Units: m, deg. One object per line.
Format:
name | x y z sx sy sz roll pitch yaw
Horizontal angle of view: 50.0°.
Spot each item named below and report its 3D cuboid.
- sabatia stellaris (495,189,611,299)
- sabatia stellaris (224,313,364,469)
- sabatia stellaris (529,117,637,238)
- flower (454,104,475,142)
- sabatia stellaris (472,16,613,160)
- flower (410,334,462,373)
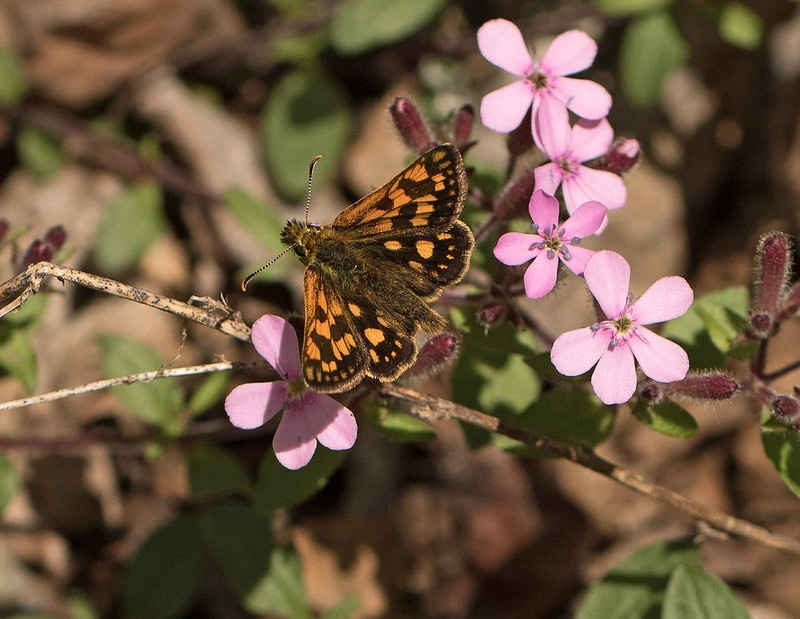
sabatia stellaris | 0.854 -0.372 4.696 0.606 0.258 0.613 0 99 3
sabatia stellaris | -0.664 0.500 4.740 0.550 0.255 0.845 -35 85 -3
sabatia stellaris | 1.052 -0.833 5.056 0.694 0.247 0.662 16 81 -13
flower | 0.407 -1.160 5.424 0.114 0.271 0.045 18 63 10
sabatia stellaris | 0.843 -1.325 5.104 0.761 0.409 0.748 -1 84 1
flower | 0.191 0.252 5.173 0.112 0.486 0.339 -21 86 10
